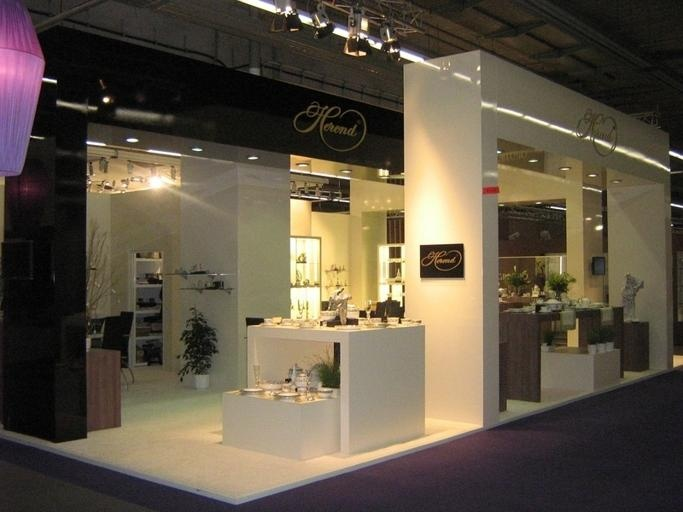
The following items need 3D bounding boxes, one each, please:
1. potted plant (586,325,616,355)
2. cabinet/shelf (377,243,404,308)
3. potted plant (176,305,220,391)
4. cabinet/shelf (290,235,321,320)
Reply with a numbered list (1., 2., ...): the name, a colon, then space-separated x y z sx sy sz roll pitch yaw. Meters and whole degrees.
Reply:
1. potted plant: 4.383 1.410 9.911 0.674 0.612 0.331 2 -2 -43
2. cabinet/shelf: 1.268 0.411 15.140 0.775 1.468 0.230 0 -1 29
3. potted plant: -2.490 1.540 9.983 0.447 1.337 0.796 1 -1 -42
4. cabinet/shelf: -0.809 0.462 13.316 0.285 1.851 0.989 0 -1 42
